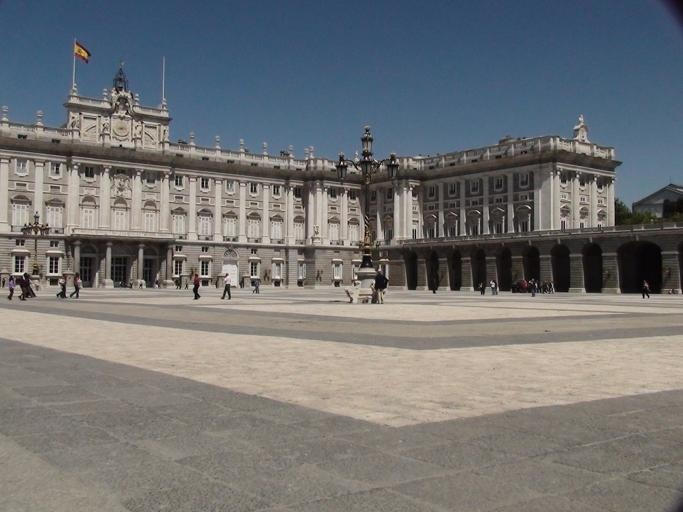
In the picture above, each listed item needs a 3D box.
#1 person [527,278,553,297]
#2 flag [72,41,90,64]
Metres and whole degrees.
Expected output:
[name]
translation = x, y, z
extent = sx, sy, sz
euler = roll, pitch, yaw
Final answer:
[person]
translation = 17.308, 2.746, 58.935
extent = 0.751, 1.367, 3.271
euler = -2, -9, 10
[flag]
translation = -24.305, -19.222, 63.660
extent = 1.032, 2.217, 3.865
euler = 1, -1, -26
